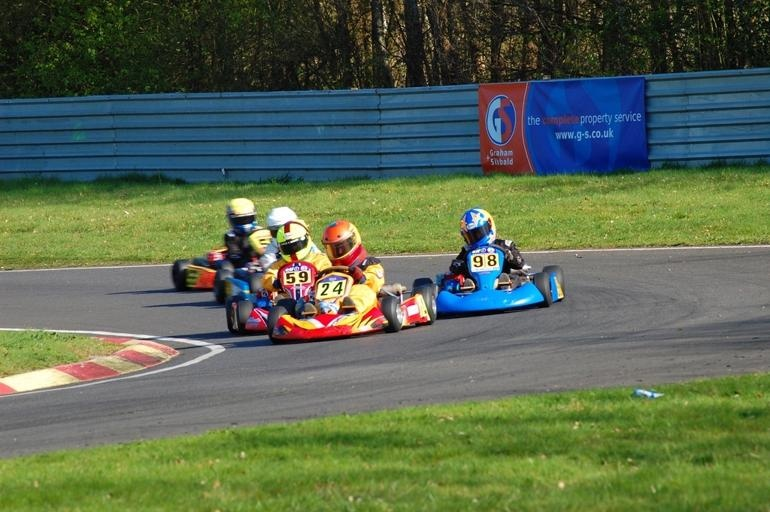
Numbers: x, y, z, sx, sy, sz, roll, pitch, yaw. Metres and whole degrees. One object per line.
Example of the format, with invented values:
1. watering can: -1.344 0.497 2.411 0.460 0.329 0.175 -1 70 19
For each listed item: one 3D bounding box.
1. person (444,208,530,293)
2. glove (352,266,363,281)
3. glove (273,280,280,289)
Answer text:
1. person: 1.867 0.319 25.423 1.334 2.295 1.190 -8 -1 11
2. glove: -0.436 0.340 24.254 0.216 0.247 0.167 -4 7 7
3. glove: -1.853 0.502 24.453 0.155 0.163 0.041 1 10 40
